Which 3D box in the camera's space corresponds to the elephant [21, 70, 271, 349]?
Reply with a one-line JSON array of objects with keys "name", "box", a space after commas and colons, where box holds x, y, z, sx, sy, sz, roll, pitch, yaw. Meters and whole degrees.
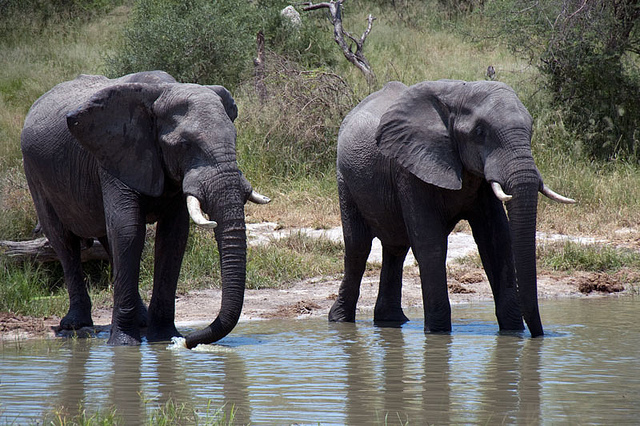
[{"name": "elephant", "box": [-2.388, -0.002, 12.571, 2.443, 3.422, 4.135, -8, 9, -44]}]

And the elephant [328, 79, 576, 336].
[{"name": "elephant", "box": [1.523, -0.003, 12.664, 1.787, 3.227, 3.901, -5, 4, -37]}]
